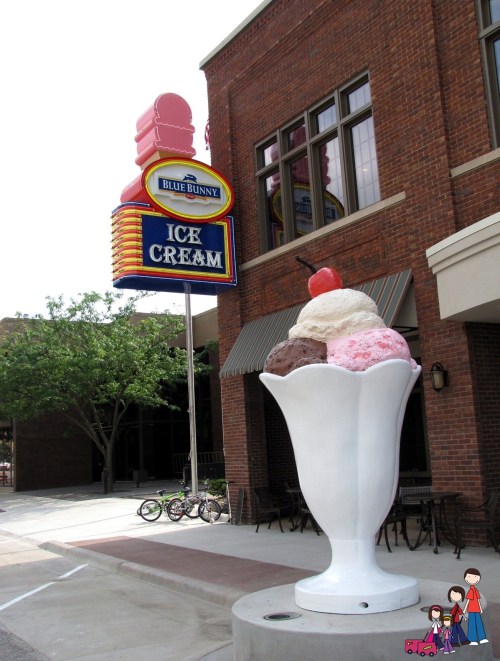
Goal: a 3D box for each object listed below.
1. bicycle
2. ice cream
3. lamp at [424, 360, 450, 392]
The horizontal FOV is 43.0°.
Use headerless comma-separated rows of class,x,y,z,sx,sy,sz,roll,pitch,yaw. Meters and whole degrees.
bicycle,-1.712,4.172,15.583,2.489,1.173,1.145,-6,-15,14
ice cream,0.723,-0.051,4.912,1.163,0.848,1.035,-9,11,2
lamp,2.797,0.707,9.578,0.220,0.444,0.360,5,-15,-27
